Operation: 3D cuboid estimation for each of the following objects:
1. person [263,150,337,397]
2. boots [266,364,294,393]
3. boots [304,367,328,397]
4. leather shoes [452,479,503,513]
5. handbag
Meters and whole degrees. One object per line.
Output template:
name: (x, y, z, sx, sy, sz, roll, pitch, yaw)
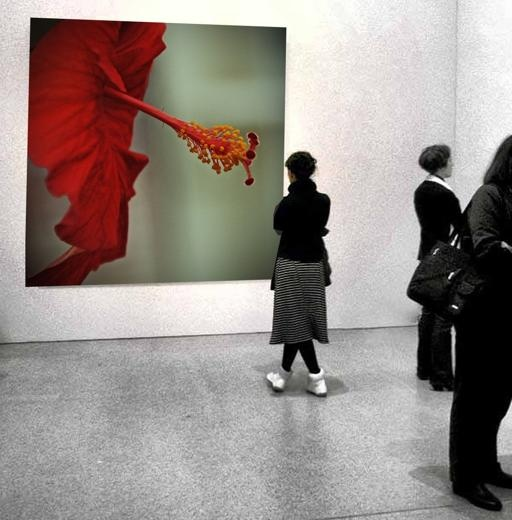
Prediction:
person: (0.286, 0.084, 3.009, 0.388, 1.562, 0.308, 0, 1, 1)
boots: (0.152, 0.786, 3.141, 0.100, 0.145, 0.209, 9, 16, -11)
boots: (0.383, 0.800, 2.985, 0.101, 0.158, 0.162, 0, -2, -19)
leather shoes: (0.805, 0.865, 1.753, 0.069, 0.075, 0.186, -1, -3, -27)
handbag: (0.702, 0.064, 1.702, 0.184, 0.316, 0.114, 33, 8, 29)
